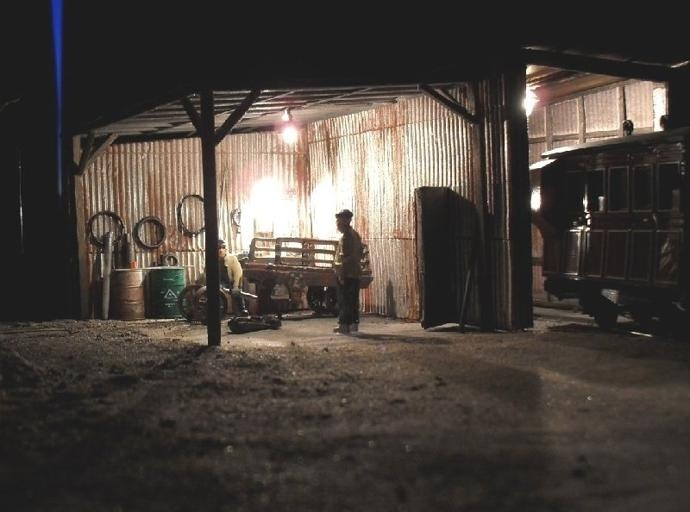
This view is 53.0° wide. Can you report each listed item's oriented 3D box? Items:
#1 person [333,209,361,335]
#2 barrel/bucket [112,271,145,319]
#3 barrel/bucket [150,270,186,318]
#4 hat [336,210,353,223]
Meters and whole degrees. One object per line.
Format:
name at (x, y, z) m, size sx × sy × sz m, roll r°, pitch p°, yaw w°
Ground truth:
person at (0.079, 0.362, 14.937) m, size 0.555 × 2.586 × 0.733 m, roll 1°, pitch 14°, yaw 1°
barrel/bucket at (-5.607, 0.988, 17.677) m, size 0.825 × 1.247 × 0.487 m, roll -6°, pitch 15°, yaw -22°
barrel/bucket at (-4.700, 0.955, 18.260) m, size 0.973 × 1.317 × 1.106 m, roll -2°, pitch -2°, yaw -9°
hat at (-0.014, -0.846, 14.962) m, size 0.297 × 0.193 × 0.229 m, roll 9°, pitch 1°, yaw 13°
